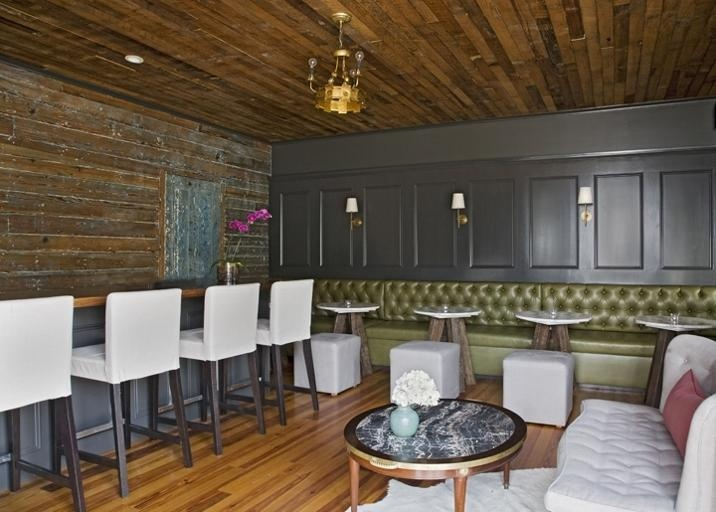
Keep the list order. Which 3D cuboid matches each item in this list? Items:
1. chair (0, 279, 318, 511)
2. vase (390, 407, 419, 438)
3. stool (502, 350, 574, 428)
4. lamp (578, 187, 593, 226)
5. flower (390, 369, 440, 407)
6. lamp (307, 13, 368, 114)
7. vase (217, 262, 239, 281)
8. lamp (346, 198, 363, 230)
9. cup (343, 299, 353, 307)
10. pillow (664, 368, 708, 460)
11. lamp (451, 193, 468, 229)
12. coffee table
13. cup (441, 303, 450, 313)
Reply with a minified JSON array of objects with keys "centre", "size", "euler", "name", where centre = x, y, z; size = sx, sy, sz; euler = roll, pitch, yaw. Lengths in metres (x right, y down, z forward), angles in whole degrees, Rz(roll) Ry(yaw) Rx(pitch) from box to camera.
[{"centre":[-1.531,0.920,3.806],"size":[0.746,1.408,1.730],"euler":[4,7,34],"name":"chair"},{"centre":[0.286,1.038,3.115],"size":[0.197,0.175,0.190],"euler":[-1,2,-2],"name":"vase"},{"centre":[1.758,1.236,4.794],"size":[0.682,0.649,0.671],"euler":[0,-2,24],"name":"stool"},{"centre":[2.778,-0.621,5.907],"size":[0.180,0.473,0.221],"euler":[2,7,24],"name":"lamp"},{"centre":[0.369,0.844,3.138],"size":[0.279,0.186,0.271],"euler":[0,-1,4],"name":"flower"},{"centre":[-0.137,-1.588,3.953],"size":[0.503,0.649,0.473],"euler":[-2,13,-12],"name":"lamp"},{"centre":[-1.314,0.163,4.878],"size":[0.208,0.195,0.188],"euler":[0,-6,8],"name":"vase"},{"centre":[-0.106,-0.641,7.074],"size":[0.282,0.442,0.226],"euler":[5,8,40],"name":"lamp"},{"centre":[-0.125,0.569,5.872],"size":[0.077,0.071,0.055],"euler":[3,5,15],"name":"cup"},{"centre":[1.858,0.903,2.737],"size":[0.141,0.249,0.448],"euler":[21,0,23],"name":"pillow"},{"centre":[1.345,-0.621,6.428],"size":[0.231,0.461,0.241],"euler":[2,6,18],"name":"lamp"},{"centre":[0.463,1.155,2.995],"size":[0.840,0.389,0.915],"euler":[-2,0,25],"name":"coffee table"},{"centre":[0.995,0.592,5.517],"size":[0.081,0.077,0.099],"euler":[-8,6,21],"name":"cup"}]
